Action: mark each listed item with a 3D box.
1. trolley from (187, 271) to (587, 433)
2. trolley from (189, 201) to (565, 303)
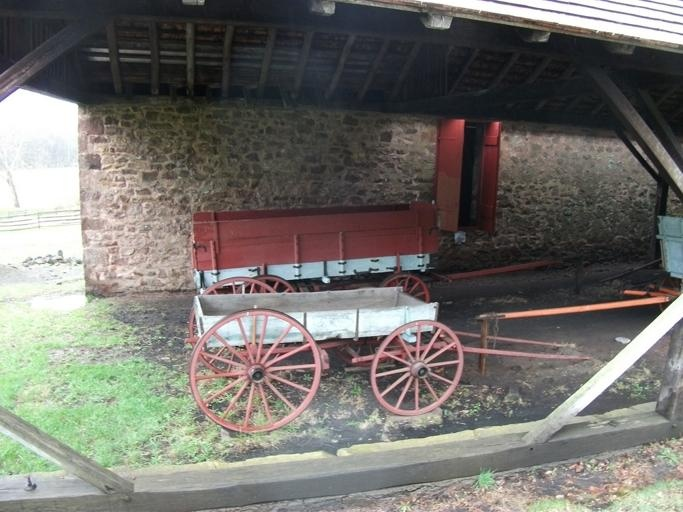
[{"bbox_3d":[-0.185,0.995,6.461,3.055,1.323,1.791,-5,12,-11],"label":"trolley"},{"bbox_3d":[0.477,-0.162,8.298,5.489,1.137,1.319,-3,17,-7],"label":"trolley"}]
